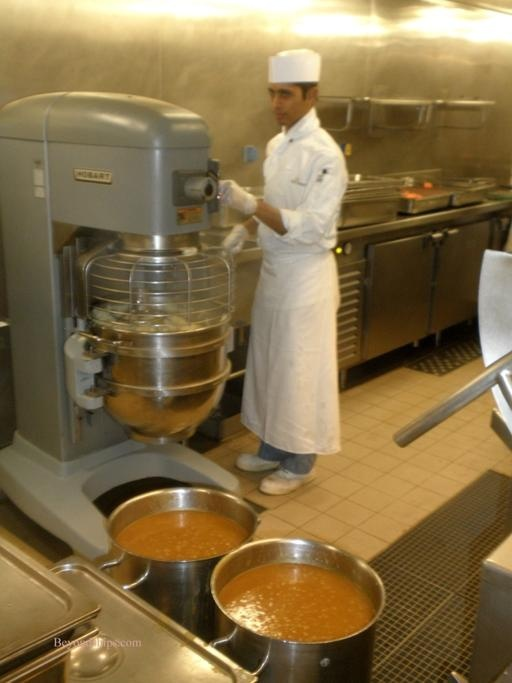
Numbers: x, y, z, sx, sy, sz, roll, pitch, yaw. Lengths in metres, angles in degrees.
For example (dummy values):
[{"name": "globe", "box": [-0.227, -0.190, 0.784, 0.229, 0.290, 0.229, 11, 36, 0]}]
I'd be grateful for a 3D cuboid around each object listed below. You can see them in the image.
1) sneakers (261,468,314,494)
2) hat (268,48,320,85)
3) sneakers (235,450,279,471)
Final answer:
[{"name": "sneakers", "box": [0.157, 0.625, 2.633, 0.249, 0.080, 0.087, -9, 27, -31]}, {"name": "hat", "box": [0.171, -1.119, 2.321, 0.212, 0.133, 0.132, -8, 26, -17]}, {"name": "sneakers", "box": [0.003, 0.578, 2.755, 0.184, 0.063, 0.083, 7, 16, 3]}]
